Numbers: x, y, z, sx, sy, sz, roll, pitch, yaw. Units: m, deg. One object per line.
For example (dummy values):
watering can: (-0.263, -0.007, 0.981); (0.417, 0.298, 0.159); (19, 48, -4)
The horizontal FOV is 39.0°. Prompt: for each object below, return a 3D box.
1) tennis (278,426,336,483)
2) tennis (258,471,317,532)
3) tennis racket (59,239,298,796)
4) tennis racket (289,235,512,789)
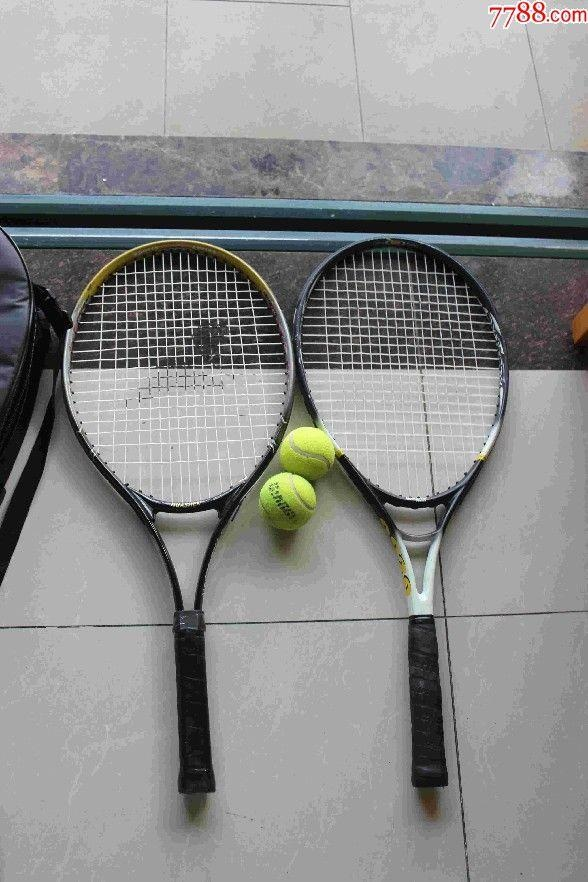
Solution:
tennis: (0.025, 0.009, 1.330); (0.070, 0.085, 0.090); (17, 63, 12)
tennis: (-0.009, 0.093, 1.306); (0.076, 0.077, 0.089); (-34, 44, 28)
tennis racket: (-0.169, 0.076, 1.304); (0.374, 0.085, 1.228); (0, 50, -12)
tennis racket: (0.194, 0.068, 1.352); (0.345, 0.084, 1.092); (-4, 35, 9)
